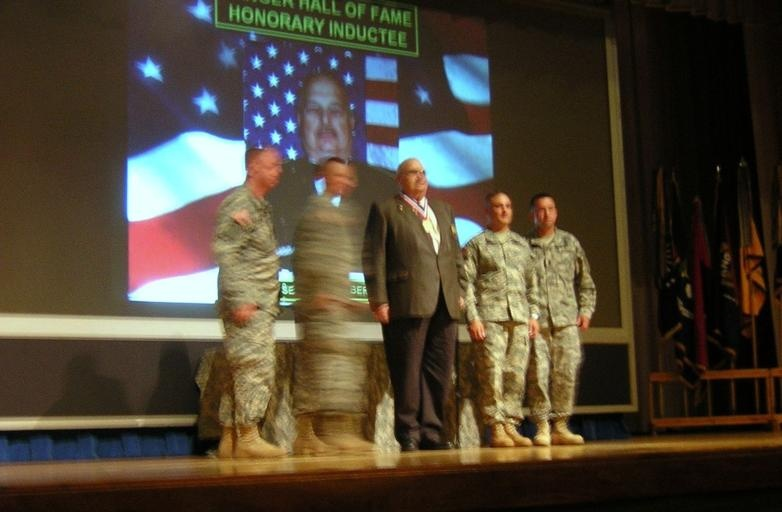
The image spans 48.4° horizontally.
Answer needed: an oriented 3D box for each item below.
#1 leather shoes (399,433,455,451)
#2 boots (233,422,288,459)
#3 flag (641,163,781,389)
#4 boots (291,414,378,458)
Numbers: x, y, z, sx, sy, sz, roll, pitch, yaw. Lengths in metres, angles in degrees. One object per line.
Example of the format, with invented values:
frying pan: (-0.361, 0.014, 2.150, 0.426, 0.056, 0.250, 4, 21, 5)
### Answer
leather shoes: (0.267, 1.393, 6.509, 0.398, 0.151, 0.141, -1, -7, -10)
boots: (-0.998, 1.363, 6.420, 0.482, 0.288, 0.180, 0, -8, -2)
flag: (3.140, 0.129, 8.532, 1.155, 2.253, 0.450, 2, -12, -14)
boots: (-0.371, 1.208, 5.891, 0.557, 0.257, 0.900, 0, -12, -6)
